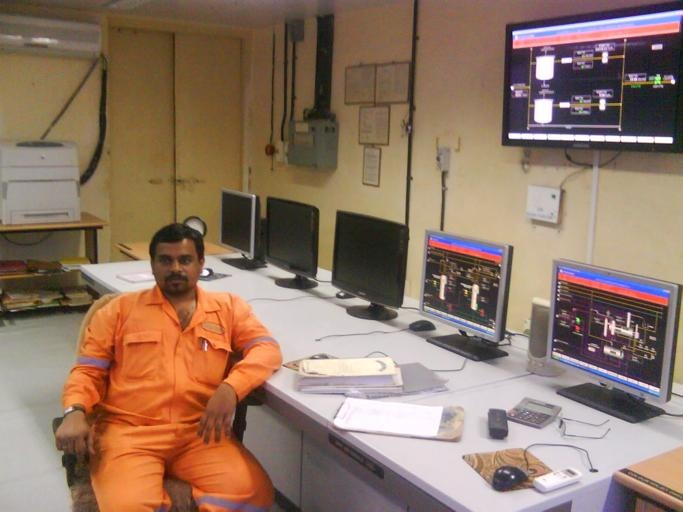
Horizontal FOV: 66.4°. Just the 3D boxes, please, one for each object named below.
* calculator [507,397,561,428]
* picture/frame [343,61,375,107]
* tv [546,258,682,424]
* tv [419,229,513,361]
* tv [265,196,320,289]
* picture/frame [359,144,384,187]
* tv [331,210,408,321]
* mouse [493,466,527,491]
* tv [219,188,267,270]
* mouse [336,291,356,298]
[{"bbox_3d":[0.762,0.624,2.080,0.162,0.042,0.219,6,8,40],"label":"calculator"},{"bbox_3d":[0.171,-1.622,4.916,0.060,0.393,0.431,6,10,-43],"label":"picture/frame"},{"bbox_3d":[1.102,0.375,2.151,0.219,0.560,0.561,-5,12,-32],"label":"tv"},{"bbox_3d":[0.620,0.220,2.662,0.250,0.616,0.581,-5,10,-35],"label":"tv"},{"bbox_3d":[-0.353,-0.079,3.662,0.247,0.548,0.592,-3,7,-37],"label":"tv"},{"bbox_3d":[0.281,-0.852,4.864,0.053,0.490,0.357,-7,13,-36],"label":"picture/frame"},{"bbox_3d":[0.157,0.080,3.090,0.288,0.561,0.580,-6,12,-35],"label":"tv"},{"bbox_3d":[0.534,0.711,1.671,0.125,0.051,0.069,-4,8,-37],"label":"mouse"},{"bbox_3d":[-0.776,-0.185,4.061,0.344,0.661,0.669,-3,9,-32],"label":"tv"},{"bbox_3d":[0.013,0.256,3.398,0.048,0.029,0.087,7,5,44],"label":"mouse"}]
